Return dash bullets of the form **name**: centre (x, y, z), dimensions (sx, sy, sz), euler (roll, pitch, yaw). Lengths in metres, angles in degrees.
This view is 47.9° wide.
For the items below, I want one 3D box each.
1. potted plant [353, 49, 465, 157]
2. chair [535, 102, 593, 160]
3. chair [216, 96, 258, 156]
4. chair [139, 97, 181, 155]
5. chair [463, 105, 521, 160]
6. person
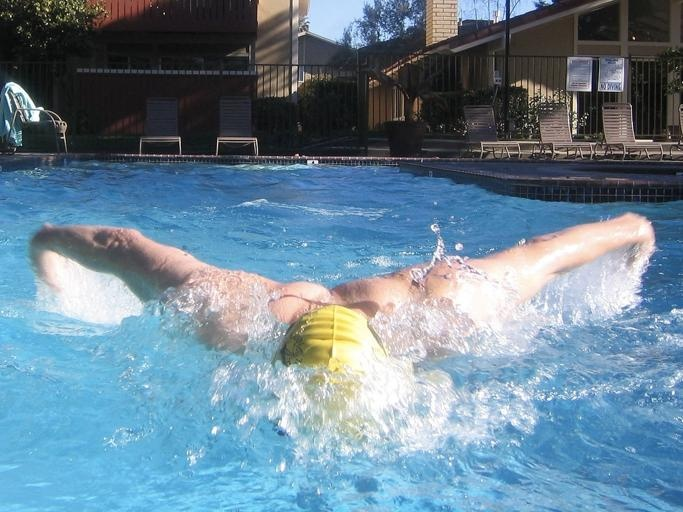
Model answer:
- **potted plant**: centre (1.247, -2.915, 14.311), dimensions (1.706, 2.084, 1.646), euler (13, 23, 2)
- **chair**: centre (4.065, -2.308, 14.195), dimensions (0.766, 1.254, 1.534), euler (-3, 14, -12)
- **chair**: centre (-1.937, -2.039, 14.153), dimensions (0.702, 1.142, 1.530), euler (-2, -23, -9)
- **chair**: centre (-3.296, -2.236, 14.137), dimensions (0.720, 1.375, 0.836), euler (1, -4, -22)
- **chair**: centre (2.575, -2.192, 13.293), dimensions (0.670, 1.194, 1.289), euler (-2, 4, -2)
- **person**: centre (-0.038, 0.141, 3.371), dimensions (2.910, 0.505, 0.828), euler (0, 12, -1)
